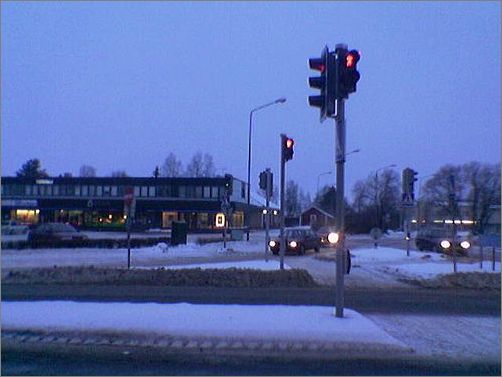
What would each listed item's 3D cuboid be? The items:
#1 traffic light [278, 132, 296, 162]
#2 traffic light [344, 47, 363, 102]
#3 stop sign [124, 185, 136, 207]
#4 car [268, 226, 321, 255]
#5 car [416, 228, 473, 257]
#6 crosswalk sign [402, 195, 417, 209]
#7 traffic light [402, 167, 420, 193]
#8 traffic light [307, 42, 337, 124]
[{"bbox_3d":[1.703,-1.832,33.358,0.563,1.259,0.454,0,10,-7],"label":"traffic light"},{"bbox_3d":[3.646,-4.149,26.401,0.546,1.549,0.271,3,10,9],"label":"traffic light"},{"bbox_3d":[-5.525,0.411,33.707,0.412,0.890,0.727,-2,11,-17],"label":"stop sign"},{"bbox_3d":[2.619,3.059,43.118,1.287,1.578,3.203,-1,-2,22],"label":"car"},{"bbox_3d":[11.292,3.141,44.220,2.571,2.304,5.219,0,-4,16],"label":"car"},{"bbox_3d":[8.703,0.650,40.444,0.642,0.958,1.057,3,11,12],"label":"crosswalk sign"},{"bbox_3d":[8.717,-0.468,40.367,0.709,1.297,0.620,3,10,12],"label":"traffic light"},{"bbox_3d":[2.725,-3.783,27.093,0.958,2.448,1.045,2,3,34],"label":"traffic light"}]
